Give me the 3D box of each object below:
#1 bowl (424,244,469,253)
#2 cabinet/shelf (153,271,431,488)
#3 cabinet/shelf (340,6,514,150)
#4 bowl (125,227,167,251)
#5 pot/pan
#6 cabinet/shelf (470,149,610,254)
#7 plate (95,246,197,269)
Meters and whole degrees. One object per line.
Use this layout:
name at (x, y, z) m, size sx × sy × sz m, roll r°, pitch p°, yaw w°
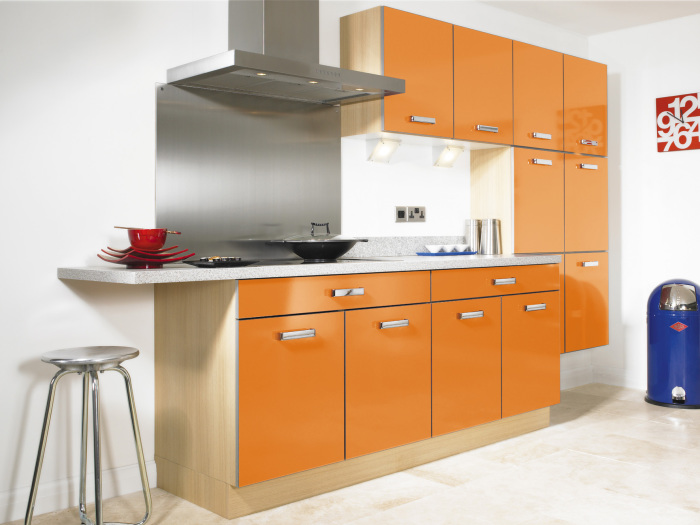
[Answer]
bowl at (0.657, -0.093, 3.834) m, size 0.316 × 0.051 × 0.125 m, roll -1°, pitch 2°, yaw -7°
cabinet/shelf at (-0.350, 0.514, 3.062) m, size 1.826 × 0.977 × 1.032 m, roll 1°, pitch -3°, yaw -41°
cabinet/shelf at (0.444, -1.121, 3.517) m, size 1.298 × 0.624 × 0.400 m, roll 0°, pitch -2°, yaw -38°
bowl at (-0.890, -0.101, 2.490) m, size 0.134 × 0.065 × 0.119 m, roll 0°, pitch 0°, yaw -20°
pot/pan at (-0.231, -0.121, 3.148) m, size 0.428 × 0.221 × 0.509 m, roll -1°, pitch 2°, yaw -9°
cabinet/shelf at (1.347, -0.461, 4.211) m, size 1.031 × 0.541 × 0.354 m, roll 1°, pitch -3°, yaw -36°
plate at (-0.949, -0.030, 2.659) m, size 0.428 × 0.096 × 0.416 m, roll -1°, pitch 2°, yaw -20°
